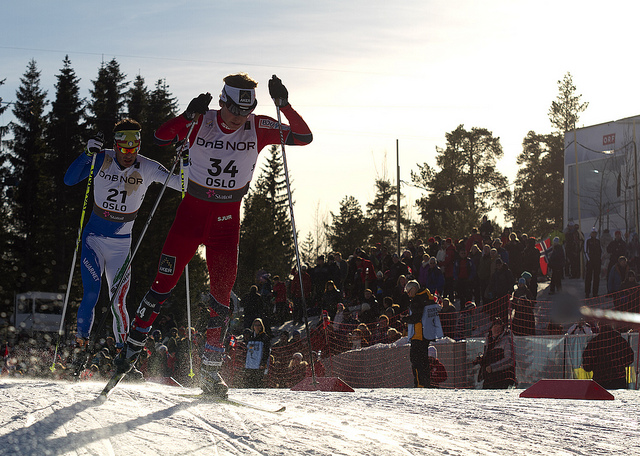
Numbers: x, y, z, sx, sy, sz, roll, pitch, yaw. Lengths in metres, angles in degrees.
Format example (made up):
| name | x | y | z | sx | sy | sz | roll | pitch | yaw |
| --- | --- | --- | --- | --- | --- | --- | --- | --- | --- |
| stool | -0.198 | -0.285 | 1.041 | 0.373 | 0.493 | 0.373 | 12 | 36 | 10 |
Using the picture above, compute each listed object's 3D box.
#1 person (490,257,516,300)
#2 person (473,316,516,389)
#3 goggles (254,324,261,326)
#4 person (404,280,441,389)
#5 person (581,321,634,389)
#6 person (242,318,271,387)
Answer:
| name | x | y | z | sx | sy | sz | roll | pitch | yaw |
| --- | --- | --- | --- | --- | --- | --- | --- | --- | --- |
| person | 4.490 | 1.285 | 18.405 | 0.505 | 1.048 | 1.011 | 0 | -1 | 5 |
| person | 3.498 | 2.565 | 14.866 | 0.763 | 1.216 | 0.451 | 0 | -1 | 16 |
| goggles | -1.352 | 2.066 | 15.868 | 0.159 | 0.049 | 0.043 | -1 | -2 | 35 |
| person | 1.934 | 2.013 | 14.073 | 0.456 | 1.963 | 0.810 | 1 | -2 | -28 |
| person | 5.459 | 2.471 | 14.184 | 0.861 | 1.097 | 0.327 | 0 | -1 | 9 |
| person | -1.399 | 2.712 | 15.847 | 0.535 | 1.700 | 0.569 | 6 | 19 | -5 |
